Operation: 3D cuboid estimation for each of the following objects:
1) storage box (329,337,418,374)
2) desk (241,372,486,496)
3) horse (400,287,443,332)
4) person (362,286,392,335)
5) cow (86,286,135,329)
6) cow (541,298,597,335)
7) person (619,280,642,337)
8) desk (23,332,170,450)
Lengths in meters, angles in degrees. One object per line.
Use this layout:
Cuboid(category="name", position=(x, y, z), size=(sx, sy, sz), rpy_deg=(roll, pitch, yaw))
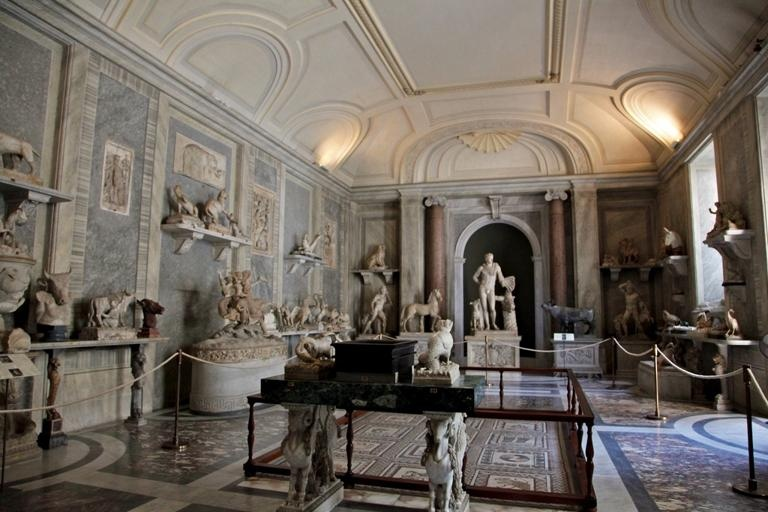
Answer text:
Cuboid(category="storage box", position=(-0.142, 1.172, 6.010), size=(0.884, 0.286, 0.872), rpy_deg=(3, -3, -37))
Cuboid(category="desk", position=(-0.231, 2.137, 5.849), size=(2.373, 1.118, 1.157), rpy_deg=(3, -25, 9))
Cuboid(category="horse", position=(1.067, 1.558, 14.557), size=(1.391, 1.431, 0.505), rpy_deg=(2, -27, 4))
Cuboid(category="person", position=(-0.202, 1.617, 15.319), size=(0.848, 1.461, 0.940), rpy_deg=(2, -8, -2))
Cuboid(category="cow", position=(-4.407, 0.850, 8.392), size=(0.395, 0.627, 0.830), rpy_deg=(-2, -9, 19))
Cuboid(category="cow", position=(4.839, 1.602, 13.510), size=(1.213, 0.808, 0.561), rpy_deg=(-2, -9, 19))
Cuboid(category="person", position=(6.581, 1.389, 13.732), size=(0.452, 1.465, 0.708), rpy_deg=(-3, -9, 26))
Cuboid(category="desk", position=(-4.491, 1.978, 8.116), size=(1.826, 1.132, 0.605), rpy_deg=(5, -17, -28))
